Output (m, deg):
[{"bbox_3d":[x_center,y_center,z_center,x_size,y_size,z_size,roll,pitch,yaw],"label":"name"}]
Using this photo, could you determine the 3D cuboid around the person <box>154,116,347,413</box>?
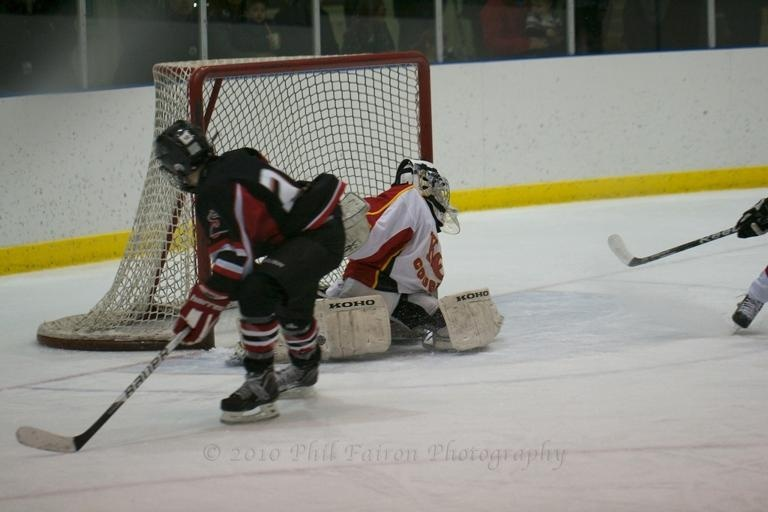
[{"bbox_3d":[-0.465,-0.032,3.781,1.310,1.584,0.836,0,9,-3],"label":"person"}]

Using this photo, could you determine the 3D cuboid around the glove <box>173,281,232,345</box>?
[{"bbox_3d":[-0.742,0.215,3.024,0.233,0.252,0.088,4,12,11],"label":"glove"}]

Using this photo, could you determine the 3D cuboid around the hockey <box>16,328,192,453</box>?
[{"bbox_3d":[-1.230,0.591,3.351,0.121,0.110,0.691,21,46,40],"label":"hockey"}]

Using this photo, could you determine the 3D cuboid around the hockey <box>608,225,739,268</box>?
[{"bbox_3d":[1.614,-0.051,4.434,0.380,0.328,0.704,-1,11,-14],"label":"hockey"}]

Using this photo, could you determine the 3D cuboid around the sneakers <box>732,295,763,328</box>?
[{"bbox_3d":[1.817,0.280,3.869,0.113,0.165,0.209,9,14,33],"label":"sneakers"}]

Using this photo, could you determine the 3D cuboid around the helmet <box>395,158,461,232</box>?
[{"bbox_3d":[0.238,-0.332,4.084,0.440,0.365,0.321,-1,23,-17],"label":"helmet"}]
